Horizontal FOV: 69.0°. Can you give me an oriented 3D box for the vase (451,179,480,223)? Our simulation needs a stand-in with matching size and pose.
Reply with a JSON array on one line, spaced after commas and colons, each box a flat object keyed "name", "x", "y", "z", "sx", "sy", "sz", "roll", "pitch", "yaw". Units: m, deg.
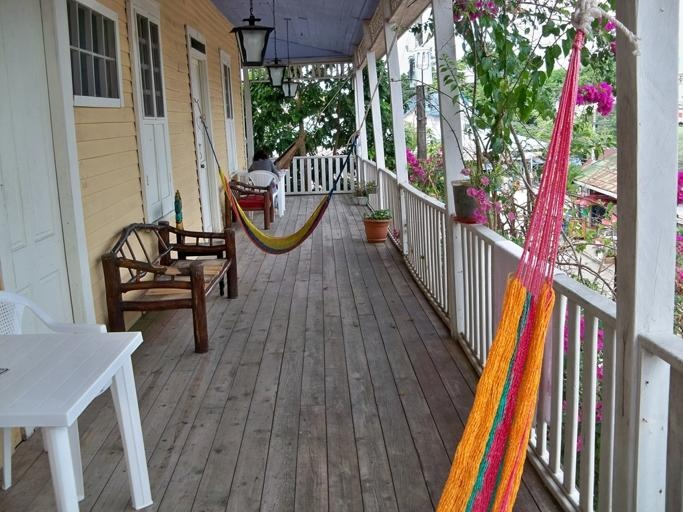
[{"name": "vase", "x": 0.888, "y": -0.413, "z": 3.597, "sx": 0.231, "sy": 0.301, "sz": 0.245, "roll": 5, "pitch": 18, "yaw": 36}]

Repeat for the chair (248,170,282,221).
[{"name": "chair", "x": -1.527, "y": -1.295, "z": 9.654, "sx": 0.576, "sy": 1.037, "sz": 0.809, "roll": 1, "pitch": 48, "yaw": 0}]

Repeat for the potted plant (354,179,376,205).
[{"name": "potted plant", "x": 0.484, "y": -1.300, "z": 10.409, "sx": 0.404, "sy": 0.598, "sz": 0.529, "roll": -2, "pitch": 17, "yaw": -4}]

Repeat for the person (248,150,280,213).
[{"name": "person", "x": -1.498, "y": -1.672, "z": 9.867, "sx": 0.660, "sy": 1.256, "sz": 0.711, "roll": 2, "pitch": 46, "yaw": -1}]

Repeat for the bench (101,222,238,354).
[{"name": "bench", "x": -1.503, "y": 0.133, "z": 4.588, "sx": 0.923, "sy": 0.936, "sz": 1.720, "roll": -4, "pitch": 15, "yaw": -7}]

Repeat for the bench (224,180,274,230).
[{"name": "bench", "x": -1.643, "y": -1.049, "z": 9.072, "sx": 0.769, "sy": 0.965, "sz": 0.853, "roll": -1, "pitch": 22, "yaw": -2}]

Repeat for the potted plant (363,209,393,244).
[{"name": "potted plant", "x": 0.515, "y": -0.450, "z": 7.301, "sx": 0.388, "sy": 0.516, "sz": 0.416, "roll": 6, "pitch": 11, "yaw": 32}]
